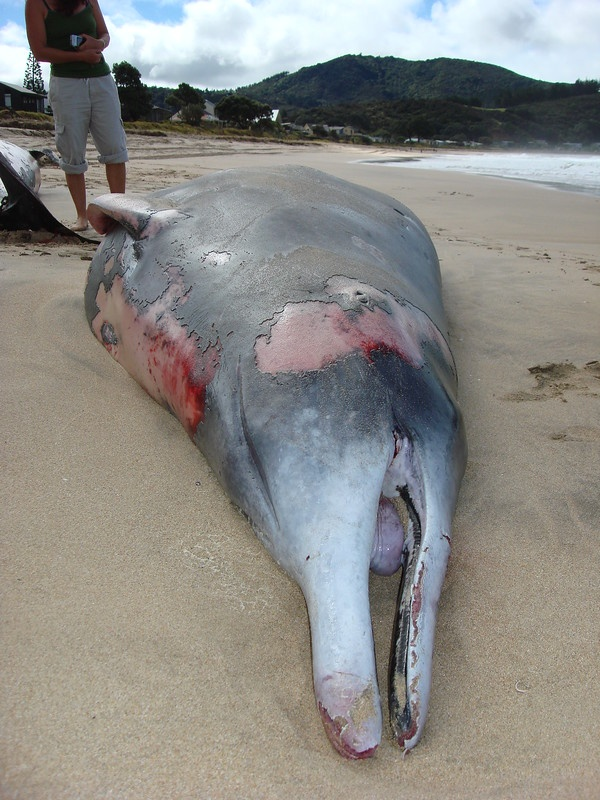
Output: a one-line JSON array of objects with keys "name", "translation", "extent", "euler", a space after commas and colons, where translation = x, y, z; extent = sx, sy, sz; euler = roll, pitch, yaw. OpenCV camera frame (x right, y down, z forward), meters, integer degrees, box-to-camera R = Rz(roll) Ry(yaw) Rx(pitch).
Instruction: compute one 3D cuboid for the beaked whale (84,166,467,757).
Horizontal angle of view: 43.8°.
[{"name": "beaked whale", "translation": [-0.025, 0.012, 1.866], "extent": [0.829, 0.400, 1.494], "euler": [-8, 43, -13]}]
